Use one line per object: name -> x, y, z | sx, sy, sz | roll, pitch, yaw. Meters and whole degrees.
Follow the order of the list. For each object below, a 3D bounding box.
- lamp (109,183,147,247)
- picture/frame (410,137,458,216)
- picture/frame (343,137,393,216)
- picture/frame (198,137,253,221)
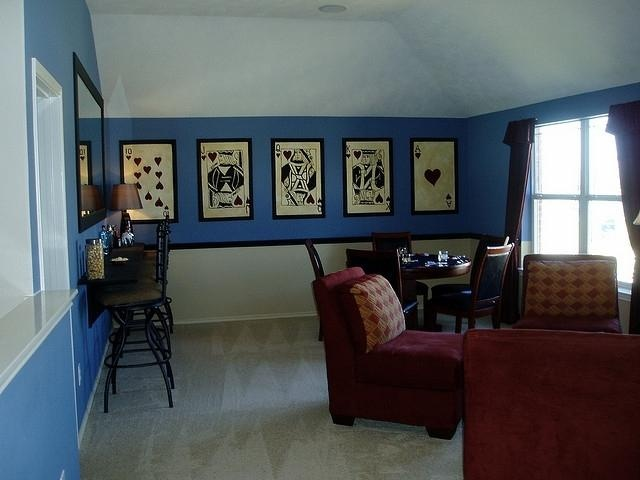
lamp -> -2.296, -0.315, 5.953 | 0.321, 0.728, 0.340 | 0, 4, 2
picture/frame -> 1.565, -0.943, 7.046 | 0.901, 1.495, 0.073 | -3, 7, -9
picture/frame -> 0.624, -0.917, 6.871 | 0.901, 1.473, 0.031 | -2, 7, -10
picture/frame -> -1.263, -0.845, 6.559 | 0.927, 1.531, 0.062 | -1, 6, -9
